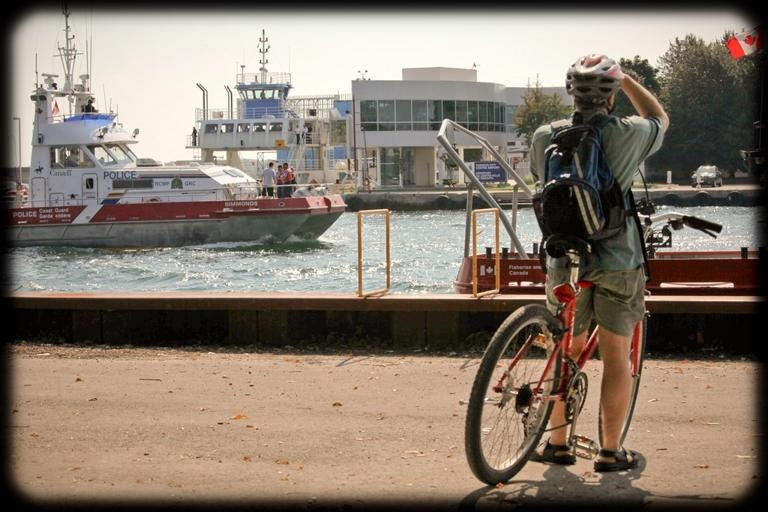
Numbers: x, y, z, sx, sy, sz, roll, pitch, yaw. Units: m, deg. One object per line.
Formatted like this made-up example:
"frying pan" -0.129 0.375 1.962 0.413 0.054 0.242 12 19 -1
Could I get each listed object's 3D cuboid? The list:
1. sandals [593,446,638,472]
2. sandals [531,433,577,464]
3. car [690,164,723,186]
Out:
"sandals" 2.981 2.619 18.043 0.595 0.204 0.258 -2 3 -13
"sandals" 2.159 2.519 18.108 0.575 0.198 0.294 6 7 36
"car" 14.207 -3.454 61.681 0.994 0.717 2.207 -1 0 25
